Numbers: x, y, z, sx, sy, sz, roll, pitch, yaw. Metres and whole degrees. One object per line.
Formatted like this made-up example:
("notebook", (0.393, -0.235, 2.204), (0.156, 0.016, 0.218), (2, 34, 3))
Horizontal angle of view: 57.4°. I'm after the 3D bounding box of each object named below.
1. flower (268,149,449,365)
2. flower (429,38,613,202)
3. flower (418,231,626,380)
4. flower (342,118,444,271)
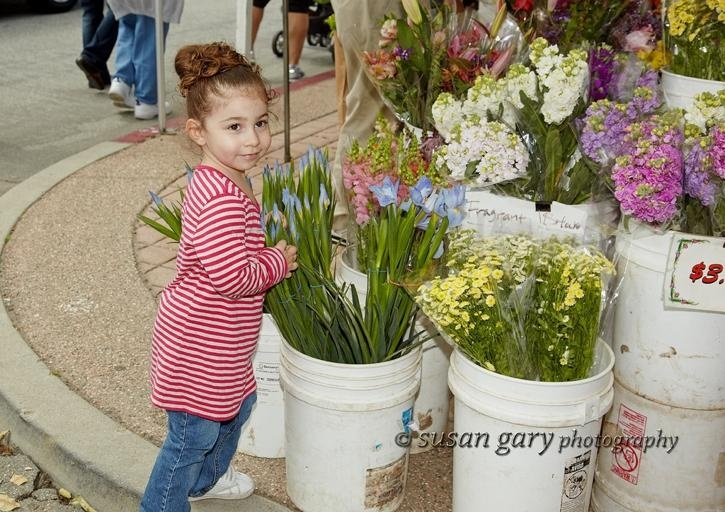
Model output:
("flower", (-0.267, -0.021, 2.922), (0.707, 0.780, 0.717), (-2, 24, -26))
("flower", (0.665, -0.435, 2.828), (0.597, 0.564, 0.665), (-26, -16, 4))
("flower", (0.566, 0.186, 2.453), (0.628, 0.481, 0.564), (5, 43, 1))
("flower", (0.192, -0.227, 2.980), (0.424, 0.603, 0.512), (21, 23, 26))
